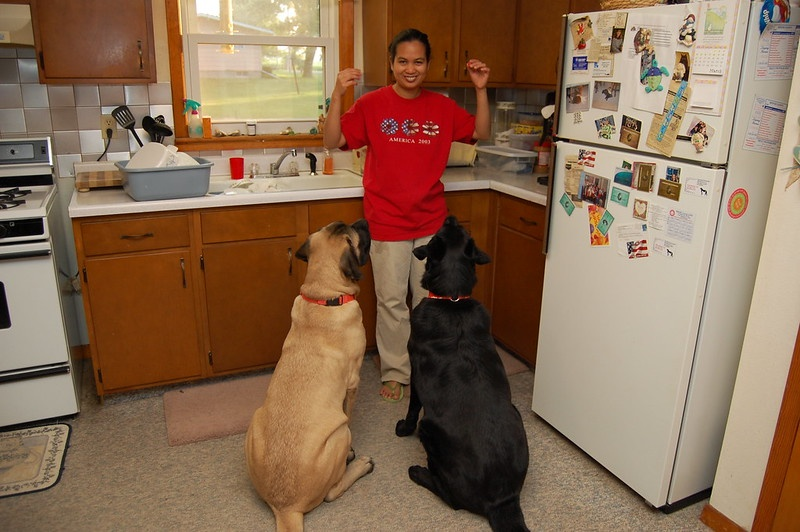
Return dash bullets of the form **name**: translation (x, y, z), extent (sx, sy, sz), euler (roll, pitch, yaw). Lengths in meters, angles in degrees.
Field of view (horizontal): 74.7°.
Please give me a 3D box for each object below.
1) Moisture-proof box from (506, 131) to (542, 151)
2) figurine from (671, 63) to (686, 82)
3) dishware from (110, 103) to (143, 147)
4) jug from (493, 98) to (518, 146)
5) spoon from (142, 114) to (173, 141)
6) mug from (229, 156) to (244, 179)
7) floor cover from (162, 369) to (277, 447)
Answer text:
- **Moisture-proof box**: translation (0.948, -0.955, 4.065), extent (0.140, 0.119, 0.182), euler (-5, 9, -40)
- **figurine**: translation (1.174, -0.817, 2.207), extent (0.024, 0.065, 0.044), euler (0, 6, -44)
- **dishware**: translation (-1.821, -0.932, 3.485), extent (0.166, 0.264, 0.102), euler (-4, 19, -12)
- **jug**: translation (0.849, -1.166, 4.271), extent (0.180, 0.333, 0.316), euler (3, 19, 10)
- **spoon**: translation (-1.631, -0.911, 3.553), extent (0.143, 0.205, 0.126), euler (1, 61, -2)
- **mug**: translation (-1.155, -0.691, 3.710), extent (0.099, 0.148, 0.075), euler (-8, 20, -21)
- **floor cover**: translation (-0.938, 0.855, 3.348), extent (0.995, 0.047, 0.921), euler (-7, 8, -10)
